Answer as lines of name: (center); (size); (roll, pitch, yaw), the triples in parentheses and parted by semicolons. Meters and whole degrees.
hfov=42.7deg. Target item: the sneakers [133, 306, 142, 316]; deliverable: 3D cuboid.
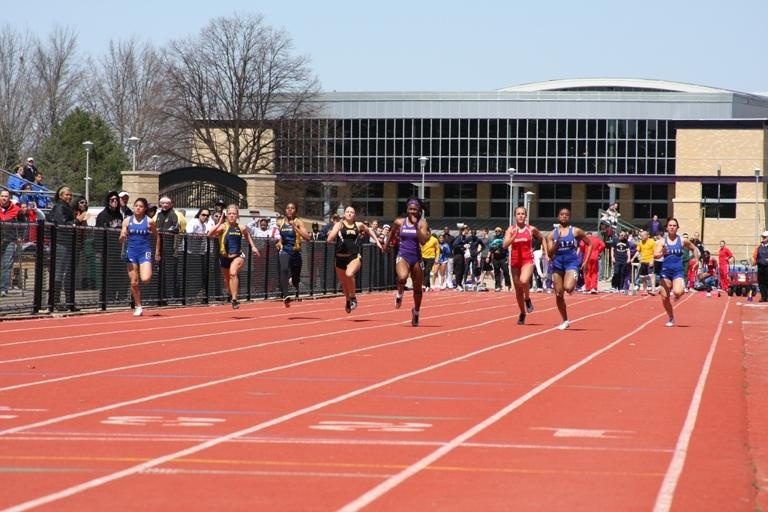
sneakers: (-5.048, 1.169, 20.299); (0.151, 0.161, 0.383); (1, 2, -23)

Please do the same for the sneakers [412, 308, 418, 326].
sneakers: (0.640, 1.247, 19.345); (0.108, 0.304, 0.131); (-6, 6, -26)

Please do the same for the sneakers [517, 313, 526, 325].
sneakers: (2.881, 1.359, 20.492); (0.124, 0.165, 0.395); (-1, -9, 9)

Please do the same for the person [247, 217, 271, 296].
person: (-3.406, -0.139, 27.339); (0.899, 2.319, 0.747); (-1, -11, -3)

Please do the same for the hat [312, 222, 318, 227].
hat: (-2.124, -0.939, 30.376); (0.161, 0.158, 0.217); (0, -2, 4)

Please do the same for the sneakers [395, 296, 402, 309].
sneakers: (0.326, 0.898, 20.508); (0.125, 0.366, 0.140); (5, -43, 3)

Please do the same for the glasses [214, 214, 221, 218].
glasses: (-4.229, -0.985, 25.058); (0.136, 0.066, 0.153); (-1, -7, 1)
